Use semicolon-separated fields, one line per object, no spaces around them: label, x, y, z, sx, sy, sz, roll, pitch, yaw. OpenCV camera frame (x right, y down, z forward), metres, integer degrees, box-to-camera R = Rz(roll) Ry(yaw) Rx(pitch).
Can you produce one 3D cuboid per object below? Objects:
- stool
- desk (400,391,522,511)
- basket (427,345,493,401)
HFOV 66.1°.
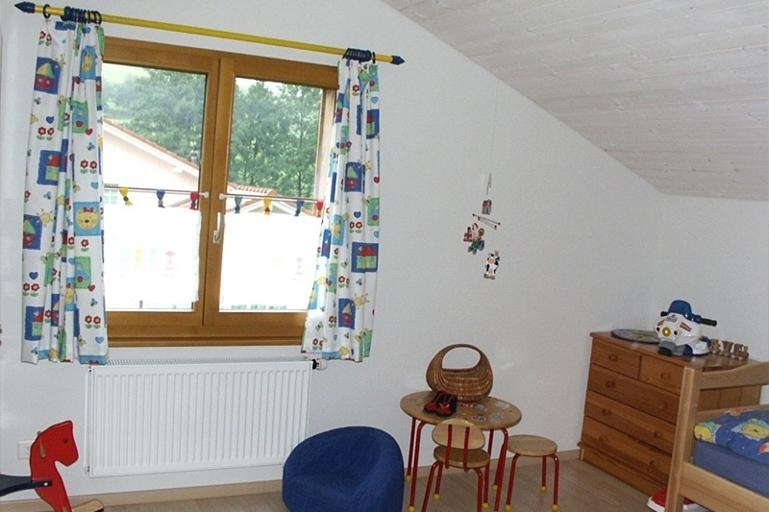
stool;1.124;1.586;4.535;0.500;0.618;0.558;2;-4;5
desk;0.549;1.380;4.340;0.854;0.660;0.862;2;2;2
basket;0.589;0.861;4.505;0.499;0.399;0.272;1;4;-12
